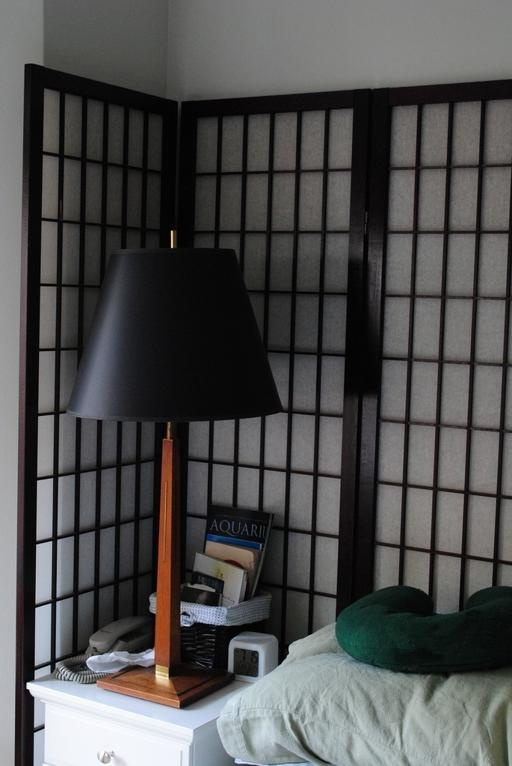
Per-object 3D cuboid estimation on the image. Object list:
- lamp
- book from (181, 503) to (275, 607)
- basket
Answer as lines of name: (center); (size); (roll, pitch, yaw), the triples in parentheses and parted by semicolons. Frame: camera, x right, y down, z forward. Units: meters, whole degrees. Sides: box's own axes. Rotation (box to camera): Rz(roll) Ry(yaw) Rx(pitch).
lamp: (-0.215, 0.213, 1.694); (0.389, 1.113, 0.450); (0, 4, -21)
book: (-0.072, 0.522, 2.122); (0.227, 0.434, 0.055); (-3, -29, 27)
basket: (-0.111, 0.645, 1.958); (0.171, 0.173, 0.265); (-4, -13, 20)
